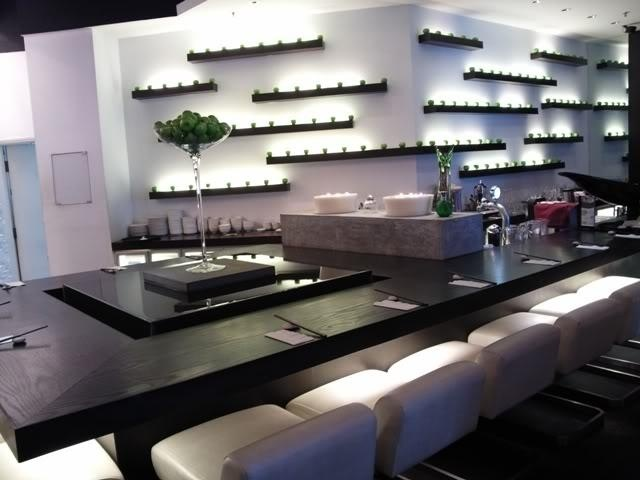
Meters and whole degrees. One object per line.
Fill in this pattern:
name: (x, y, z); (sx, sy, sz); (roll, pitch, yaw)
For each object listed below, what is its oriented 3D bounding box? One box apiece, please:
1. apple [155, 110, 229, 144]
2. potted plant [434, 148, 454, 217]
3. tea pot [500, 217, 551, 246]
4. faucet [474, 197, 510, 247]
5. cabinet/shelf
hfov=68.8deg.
apple: (-0.720, -0.608, 2.597); (0.244, 0.111, 0.252); (1, 9, 16)
potted plant: (0.875, -0.404, 3.300); (0.119, 0.444, 0.363); (3, 15, 14)
tea pot: (1.671, -0.070, 3.800); (0.189, 0.274, 0.720); (0, 3, 40)
faucet: (1.374, -0.070, 3.613); (0.261, 0.426, 0.143); (3, -17, -11)
cabinet/shelf: (1.205, -1.815, 6.599); (7.305, 2.109, 2.100); (-8, 16, -25)
